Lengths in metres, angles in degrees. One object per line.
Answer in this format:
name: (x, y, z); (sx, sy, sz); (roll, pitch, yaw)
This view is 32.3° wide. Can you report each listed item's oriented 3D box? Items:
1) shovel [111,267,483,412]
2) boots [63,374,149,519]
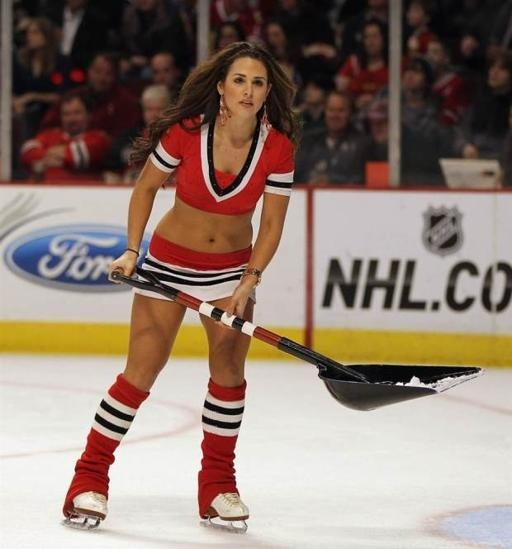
shovel: (0.338, 0.328, 4.525); (1.619, 0.256, 0.442); (17, 4, 17)
boots: (-0.508, 0.588, 2.979); (0.197, 0.452, 0.289); (8, 14, 3)
